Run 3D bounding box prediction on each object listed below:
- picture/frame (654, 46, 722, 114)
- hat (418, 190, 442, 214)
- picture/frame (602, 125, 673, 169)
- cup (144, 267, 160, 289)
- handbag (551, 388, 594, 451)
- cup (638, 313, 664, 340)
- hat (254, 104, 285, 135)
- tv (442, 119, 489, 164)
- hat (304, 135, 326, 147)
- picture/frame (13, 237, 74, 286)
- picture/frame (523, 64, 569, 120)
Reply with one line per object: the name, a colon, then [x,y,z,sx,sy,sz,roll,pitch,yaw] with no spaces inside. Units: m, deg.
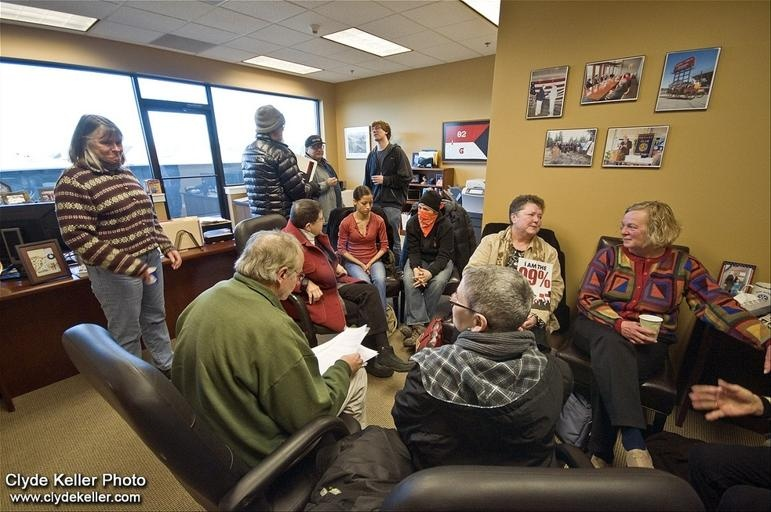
picture/frame: [2.177,-1.259,3.277,0.461,0.582,0.021,8,10,24]
hat: [0.444,-0.499,4.281,0.157,0.162,0.216,22,-4,36]
picture/frame: [1.915,-0.818,3.449,0.345,0.260,0.023,8,11,21]
cup: [-1.773,0.166,3.516,0.142,0.127,0.113,-13,25,-31]
handbag: [1.405,1.223,3.294,0.220,0.403,0.320,4,-10,10]
cup: [1.798,0.485,3.119,0.163,0.140,0.166,-1,7,0]
hat: [-1.032,-1.212,4.109,0.214,0.151,0.281,-16,6,-10]
tv: [1.249,-1.760,7.156,0.910,0.615,0.070,-9,16,-26]
hat: [-0.780,-1.245,4.961,0.155,0.113,0.203,-7,2,-35]
picture/frame: [-2.641,0.048,3.544,0.277,0.358,0.026,-31,17,-39]
picture/frame: [1.294,-1.308,3.649,0.429,0.512,0.071,7,9,31]
